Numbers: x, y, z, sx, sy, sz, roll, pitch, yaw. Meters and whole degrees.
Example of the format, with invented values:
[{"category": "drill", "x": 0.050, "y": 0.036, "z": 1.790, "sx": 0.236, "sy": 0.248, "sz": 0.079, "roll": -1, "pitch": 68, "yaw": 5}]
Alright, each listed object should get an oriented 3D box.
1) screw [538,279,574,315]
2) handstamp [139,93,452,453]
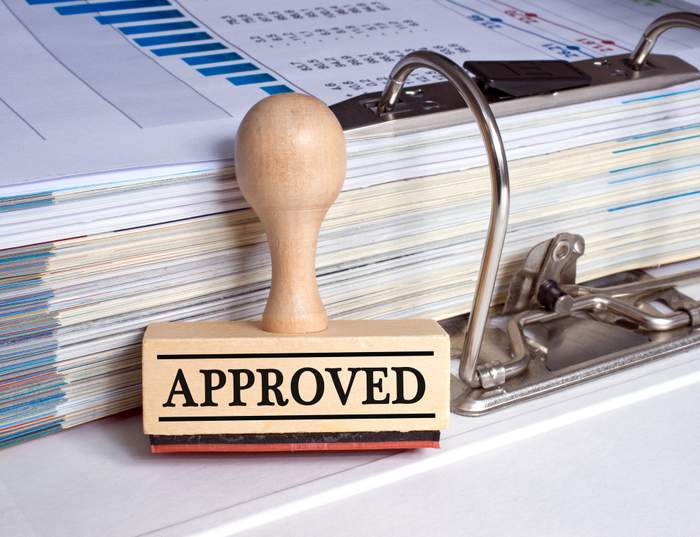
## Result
[{"category": "screw", "x": 0.162, "y": 0.022, "z": 0.550, "sx": 0.021, "sy": 0.012, "sz": 0.039, "roll": -15, "pitch": 25, "yaw": -11}, {"category": "handstamp", "x": -0.033, "y": 0.008, "z": 0.423, "sx": 0.185, "sy": 0.224, "sz": 0.098, "roll": -1, "pitch": 29, "yaw": 0}]
